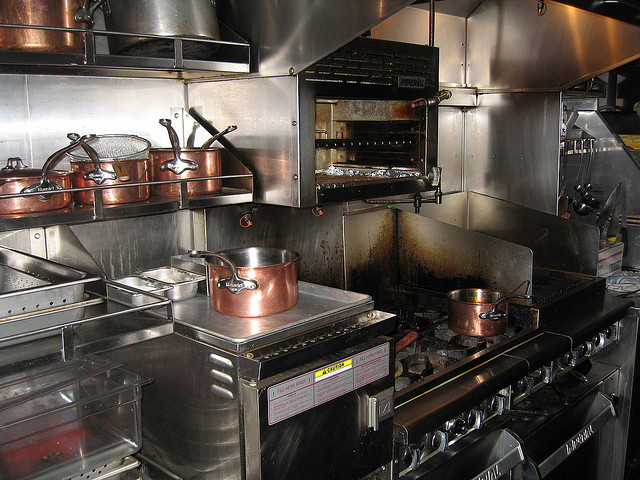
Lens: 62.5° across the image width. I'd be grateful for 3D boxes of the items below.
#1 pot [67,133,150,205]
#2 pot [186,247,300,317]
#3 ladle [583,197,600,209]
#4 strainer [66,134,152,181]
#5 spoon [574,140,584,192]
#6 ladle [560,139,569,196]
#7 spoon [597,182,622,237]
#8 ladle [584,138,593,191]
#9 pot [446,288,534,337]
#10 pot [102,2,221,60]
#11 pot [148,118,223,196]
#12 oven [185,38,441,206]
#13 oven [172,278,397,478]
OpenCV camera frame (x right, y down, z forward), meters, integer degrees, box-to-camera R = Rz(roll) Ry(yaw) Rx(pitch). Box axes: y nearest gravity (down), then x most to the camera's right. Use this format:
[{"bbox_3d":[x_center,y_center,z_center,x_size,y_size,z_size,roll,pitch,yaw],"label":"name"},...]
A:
[{"bbox_3d":[-0.610,-0.218,1.628,0.281,0.204,0.265,-1,9,0],"label":"pot"},{"bbox_3d":[-0.217,0.101,1.627,0.202,0.185,0.316,6,13,35],"label":"pot"},{"bbox_3d":[1.901,-0.262,3.677,0.063,0.032,0.089,17,5,14],"label":"ladle"},{"bbox_3d":[-0.641,-0.289,1.661,0.216,0.155,0.304,14,16,25],"label":"strainer"},{"bbox_3d":[1.815,-0.484,3.665,0.080,0.283,0.045,-9,11,-24],"label":"spoon"},{"bbox_3d":[1.608,-0.471,3.453,0.034,0.369,0.456,1,11,26],"label":"ladle"},{"bbox_3d":[2.000,-0.206,3.626,0.021,0.383,0.069,17,3,-33],"label":"spoon"},{"bbox_3d":[1.884,-0.520,3.681,0.062,0.346,0.038,-4,10,3],"label":"ladle"},{"bbox_3d":[0.710,0.262,2.348,0.375,0.201,0.334,-7,9,-43],"label":"pot"},{"bbox_3d":[-0.452,-0.618,1.533,0.321,0.166,0.169,-7,10,-17],"label":"pot"},{"bbox_3d":[-0.416,-0.270,1.734,0.350,0.216,0.383,-1,9,0],"label":"pot"},{"bbox_3d":[0.039,-0.442,2.074,0.581,0.499,0.764,9,18,42],"label":"oven"},{"bbox_3d":[-0.064,0.489,1.641,0.577,0.588,0.368,-11,12,-34],"label":"oven"}]
